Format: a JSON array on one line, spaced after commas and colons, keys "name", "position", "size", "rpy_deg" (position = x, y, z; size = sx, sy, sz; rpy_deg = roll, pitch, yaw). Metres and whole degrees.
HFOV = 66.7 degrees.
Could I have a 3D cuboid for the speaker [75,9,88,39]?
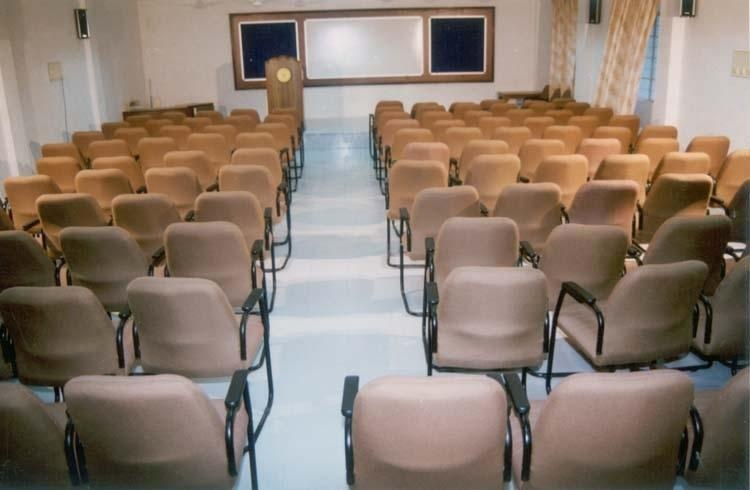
[{"name": "speaker", "position": [-5.769, -4.323, 11.138], "size": [0.111, 0.503, 0.308], "rpy_deg": [5, 13, 33]}]
